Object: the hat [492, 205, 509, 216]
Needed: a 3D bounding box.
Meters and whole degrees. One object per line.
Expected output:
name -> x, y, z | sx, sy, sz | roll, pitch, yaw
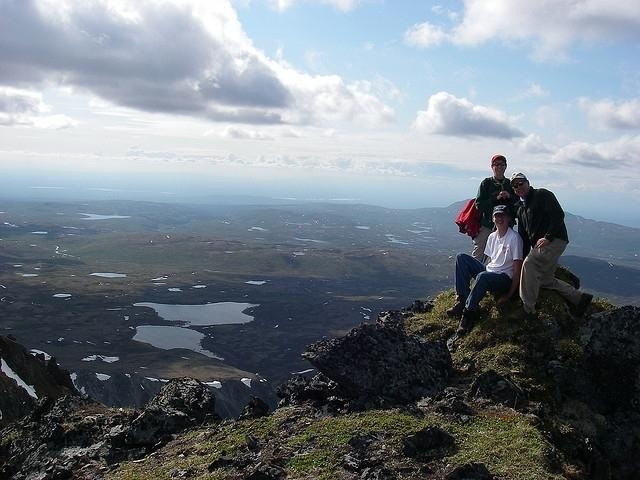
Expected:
hat -> 6.181, -1.025, 14.677 | 0.447, 0.306, 0.443 | 5, 7, 12
